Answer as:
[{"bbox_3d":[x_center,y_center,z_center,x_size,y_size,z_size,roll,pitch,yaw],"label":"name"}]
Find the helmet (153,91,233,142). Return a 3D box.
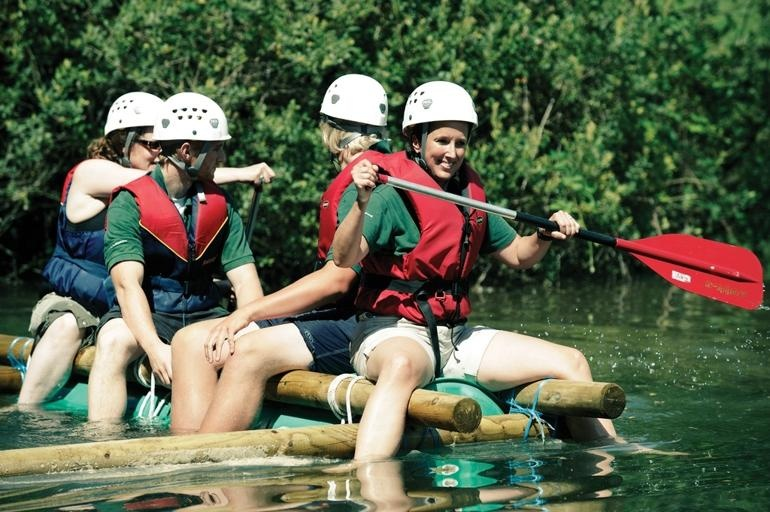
[{"bbox_3d":[-1.615,-1.161,9.216,0.521,0.297,0.418,1,3,3],"label":"helmet"}]

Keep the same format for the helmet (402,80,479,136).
[{"bbox_3d":[0.437,-1.168,8.741,0.431,0.269,0.428,-1,6,8],"label":"helmet"}]

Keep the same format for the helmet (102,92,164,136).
[{"bbox_3d":[-2.204,-1.244,9.825,0.490,0.304,0.369,4,-4,11],"label":"helmet"}]

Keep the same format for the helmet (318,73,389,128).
[{"bbox_3d":[-0.271,-1.365,9.493,0.421,0.410,0.517,9,18,-39],"label":"helmet"}]
